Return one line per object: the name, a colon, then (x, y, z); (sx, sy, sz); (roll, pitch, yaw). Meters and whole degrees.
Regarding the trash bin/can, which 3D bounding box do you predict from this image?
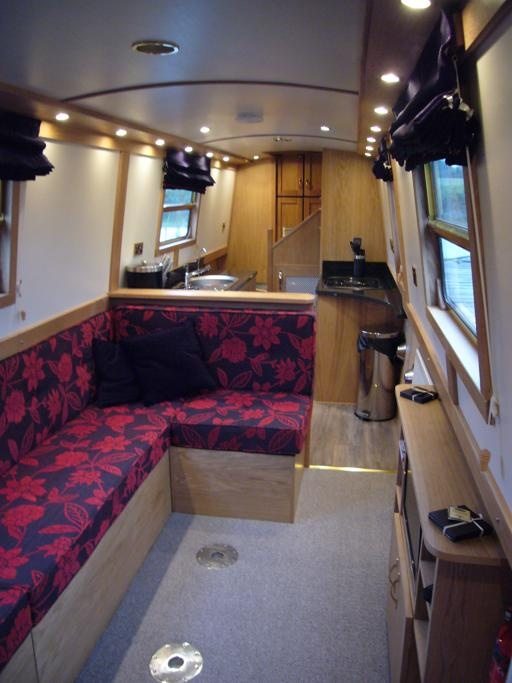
trash bin/can: (1.009, 0.269, 3.731); (0.382, 0.711, 0.356); (2, 12, 18)
